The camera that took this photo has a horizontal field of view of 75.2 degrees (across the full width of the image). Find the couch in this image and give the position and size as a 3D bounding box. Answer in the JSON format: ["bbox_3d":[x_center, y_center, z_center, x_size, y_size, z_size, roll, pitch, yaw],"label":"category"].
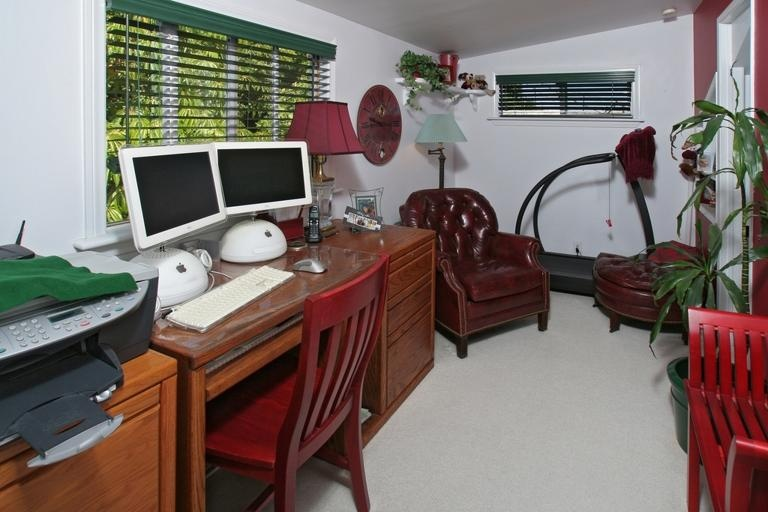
[{"bbox_3d":[0.731,-0.008,4.295,1.178,1.425,1.284,-5,8,-28],"label":"couch"}]

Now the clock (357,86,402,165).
[{"bbox_3d":[-0.051,-1.103,4.100,0.078,0.786,0.767,4,7,26],"label":"clock"}]

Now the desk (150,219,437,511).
[{"bbox_3d":[-0.432,0.521,2.249,0.417,0.743,1.319,6,10,25],"label":"desk"}]

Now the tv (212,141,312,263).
[{"bbox_3d":[-0.663,-0.306,2.650,0.267,0.521,0.633,4,9,28],"label":"tv"}]

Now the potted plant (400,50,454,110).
[{"bbox_3d":[0.387,-1.616,4.549,0.288,0.498,0.681,4,17,26],"label":"potted plant"}]

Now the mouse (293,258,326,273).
[{"bbox_3d":[-0.364,0.039,2.482,0.123,0.043,0.082,3,6,11],"label":"mouse"}]

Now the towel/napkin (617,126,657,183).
[{"bbox_3d":[2.307,-0.940,4.549,0.371,0.446,0.271,-7,14,-2],"label":"towel/napkin"}]

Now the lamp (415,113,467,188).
[{"bbox_3d":[0.539,-1.020,4.807,0.431,0.722,0.797,-2,15,5],"label":"lamp"}]

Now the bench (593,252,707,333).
[{"bbox_3d":[2.070,0.220,4.018,0.691,0.535,0.700,-3,5,-31],"label":"bench"}]
